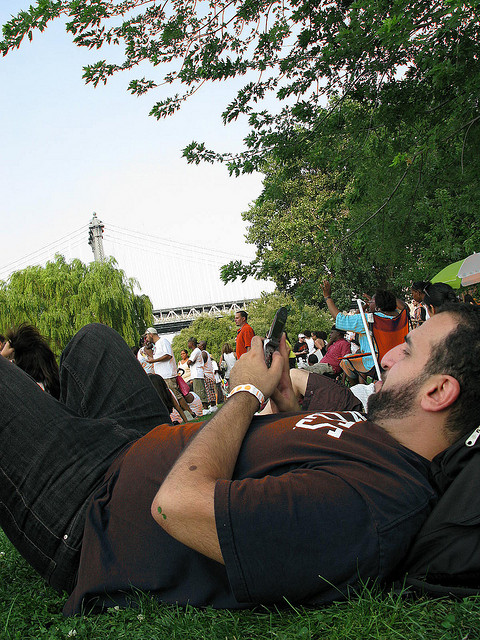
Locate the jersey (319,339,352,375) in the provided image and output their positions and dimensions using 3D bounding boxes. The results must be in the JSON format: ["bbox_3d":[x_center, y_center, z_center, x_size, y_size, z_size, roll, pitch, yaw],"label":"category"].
[{"bbox_3d":[2.137,0.775,9.133,0.391,0.631,0.662,27,-20,-12],"label":"jersey"}]

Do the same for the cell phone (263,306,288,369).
[{"bbox_3d":[0.183,0.046,1.813,0.074,0.084,0.346,8,35,9],"label":"cell phone"}]

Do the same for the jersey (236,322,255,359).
[{"bbox_3d":[0.158,0.429,10.107,0.441,0.865,0.779,-8,-1,1],"label":"jersey"}]

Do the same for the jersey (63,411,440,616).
[{"bbox_3d":[-0.010,0.513,1.068,0.796,0.295,0.673,-4,-5,6],"label":"jersey"}]

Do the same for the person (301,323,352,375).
[{"bbox_3d":[1.983,0.591,9.498,1.215,1.159,0.786,2,3,17],"label":"person"}]

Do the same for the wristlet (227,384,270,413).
[{"bbox_3d":[0.042,0.258,1.481,0.136,0.129,0.074,-7,18,10],"label":"wristlet"}]
